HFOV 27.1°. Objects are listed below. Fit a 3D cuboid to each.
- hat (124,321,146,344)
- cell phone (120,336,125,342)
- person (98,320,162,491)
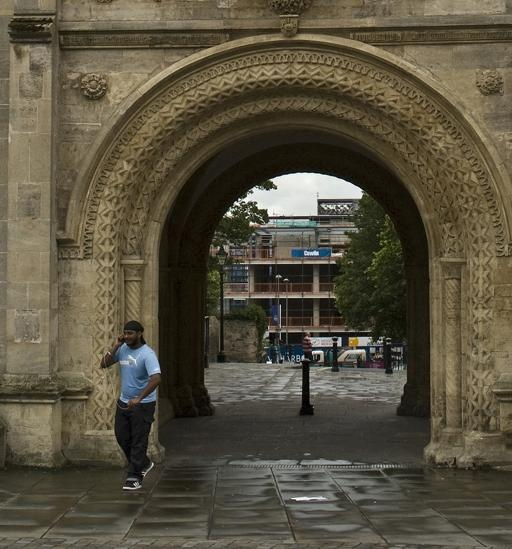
[{"bbox_3d":[-1.177,0.566,10.268,0.183,0.240,0.318,-2,-3,0],"label":"hat"},{"bbox_3d":[-1.287,0.614,10.189,0.042,0.072,0.126,-1,-3,-7],"label":"cell phone"},{"bbox_3d":[-1.174,1.268,10.227,0.448,1.630,0.603,0,-4,-28],"label":"person"}]
